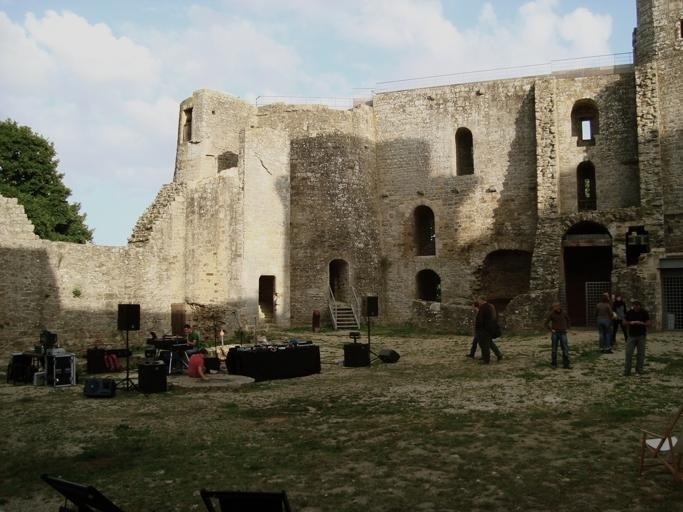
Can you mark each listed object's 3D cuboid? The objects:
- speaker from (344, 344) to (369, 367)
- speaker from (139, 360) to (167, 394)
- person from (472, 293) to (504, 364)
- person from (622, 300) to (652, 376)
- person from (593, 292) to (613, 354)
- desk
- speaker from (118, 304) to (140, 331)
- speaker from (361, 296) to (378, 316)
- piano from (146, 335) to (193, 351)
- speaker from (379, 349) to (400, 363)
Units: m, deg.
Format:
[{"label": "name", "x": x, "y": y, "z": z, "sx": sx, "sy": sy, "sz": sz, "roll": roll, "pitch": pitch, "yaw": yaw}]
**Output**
[{"label": "speaker", "x": 0.377, "y": 2.751, "z": 18.075, "sx": 0.773, "sy": 0.598, "sz": 0.709, "roll": -2, "pitch": -3, "yaw": 19}, {"label": "speaker", "x": -4.265, "y": 2.813, "z": 15.136, "sx": 0.780, "sy": 0.846, "sz": 0.691, "roll": -2, "pitch": 4, "yaw": -17}, {"label": "person", "x": 4.019, "y": 1.976, "z": 17.811, "sx": 0.709, "sy": 1.817, "sz": 0.849, "roll": 1, "pitch": 8, "yaw": 11}, {"label": "person", "x": 6.946, "y": 1.926, "z": 15.394, "sx": 0.500, "sy": 1.818, "sz": 0.560, "roll": 2, "pitch": 8, "yaw": 21}, {"label": "person", "x": 7.359, "y": 1.847, "z": 18.235, "sx": 0.426, "sy": 1.554, "sz": 0.896, "roll": 2, "pitch": 8, "yaw": 22}, {"label": "desk", "x": -1.670, "y": 2.751, "z": 16.824, "sx": 2.233, "sy": 0.794, "sz": 0.909, "roll": -5, "pitch": 8, "yaw": -33}, {"label": "speaker", "x": -5.417, "y": 1.585, "z": 16.635, "sx": 0.515, "sy": 0.810, "sz": 0.801, "roll": -3, "pitch": 8, "yaw": -19}, {"label": "speaker", "x": 0.860, "y": 1.435, "z": 18.868, "sx": 0.360, "sy": 0.606, "sz": 0.913, "roll": 0, "pitch": 7, "yaw": 6}, {"label": "piano", "x": -4.567, "y": 2.374, "z": 17.664, "sx": 0.853, "sy": 0.294, "sz": 0.683, "roll": -4, "pitch": 7, "yaw": -26}, {"label": "speaker", "x": 1.362, "y": 2.877, "z": 18.619, "sx": 0.473, "sy": 0.384, "sz": 0.301, "roll": 17, "pitch": -30, "yaw": 0}]
